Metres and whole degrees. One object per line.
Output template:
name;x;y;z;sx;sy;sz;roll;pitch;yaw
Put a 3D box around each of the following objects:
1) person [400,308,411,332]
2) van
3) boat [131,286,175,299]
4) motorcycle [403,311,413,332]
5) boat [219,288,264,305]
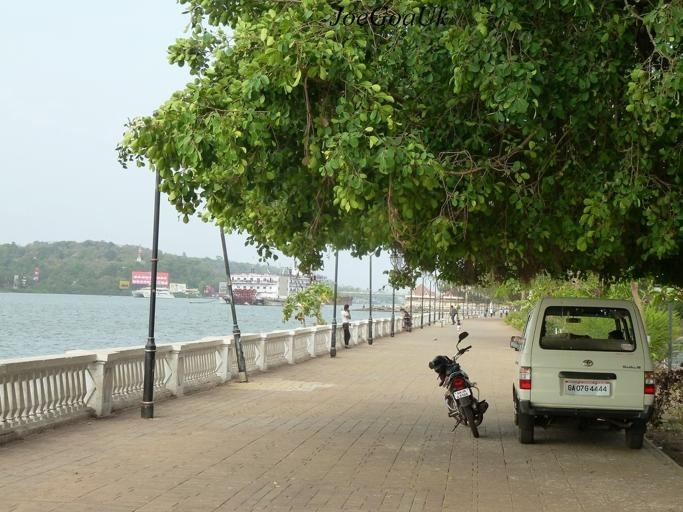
person;5.017;5.042;49.355;1.134;2.495;0.946;-1;-1;4
van;3.763;1.595;10.611;1.533;1.537;2.804;0;1;6
boat;-36.299;6.771;123.056;4.586;2.045;6.593;0;-7;3
motorcycle;5.008;5.003;48.770;0.513;1.418;1.754;-3;-4;0
boat;-17.334;7.231;115.851;5.408;2.686;12.722;-3;-4;-1
